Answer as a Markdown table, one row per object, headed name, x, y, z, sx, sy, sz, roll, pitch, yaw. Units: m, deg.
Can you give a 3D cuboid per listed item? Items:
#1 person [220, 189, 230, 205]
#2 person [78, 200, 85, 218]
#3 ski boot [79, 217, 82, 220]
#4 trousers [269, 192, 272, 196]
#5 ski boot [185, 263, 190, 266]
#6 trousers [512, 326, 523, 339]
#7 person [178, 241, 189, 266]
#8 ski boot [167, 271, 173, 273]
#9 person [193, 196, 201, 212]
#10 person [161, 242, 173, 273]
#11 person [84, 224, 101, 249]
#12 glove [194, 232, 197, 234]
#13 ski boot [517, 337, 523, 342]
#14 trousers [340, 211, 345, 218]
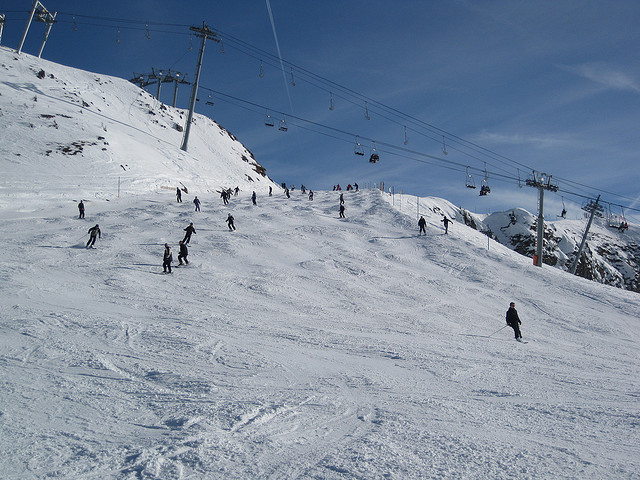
| name | x | y | z | sx | sy | sz | roll | pitch | yaw |
| --- | --- | --- | --- | --- | --- | --- | --- | --- | --- |
| person | -8.243 | -3.806 | 52.703 | 0.828 | 1.048 | 0.300 | 3 | -2 | 4 |
| person | -16.047 | -2.032 | 40.902 | 0.470 | 0.810 | 1.257 | 11 | 3 | -21 |
| ski boot | -16.032 | -1.459 | 40.607 | 0.158 | 0.074 | 0.501 | 8 | 4 | -28 |
| trousers | -5.301 | -5.023 | 65.027 | 0.310 | 0.329 | 0.203 | 4 | 9 | 2 |
| ski boot | -7.211 | 1.324 | 33.098 | 0.178 | 0.106 | 0.265 | 9 | 4 | -15 |
| trousers | 8.911 | 4.159 | 27.462 | 0.381 | 0.567 | 0.416 | 15 | 5 | 36 |
| person | -7.437 | 0.715 | 33.208 | 0.731 | 1.030 | 0.925 | 11 | 4 | -11 |
| ski boot | -7.730 | 1.628 | 31.271 | 0.188 | 0.057 | 0.291 | 10 | 3 | 2 |
| person | -9.804 | -2.869 | 48.299 | 0.726 | 0.721 | 1.911 | -10 | -15 | -8 |
| person | -7.835 | 0.941 | 31.362 | 0.565 | 1.175 | 1.001 | 11 | 4 | -15 |
| person | -12.968 | -0.223 | 34.650 | 0.614 | 0.995 | 1.628 | 11 | 3 | -18 |
| glove | -7.725 | -0.449 | 37.519 | 0.138 | 0.125 | 0.127 | -28 | 9 | -21 |
| ski boot | 8.992 | 4.471 | 27.310 | 0.208 | 0.068 | 0.290 | -3 | 9 | 13 |
| trousers | 1.808 | -2.153 | 49.774 | 0.222 | 0.571 | 0.669 | 5 | 1 | 6 |
